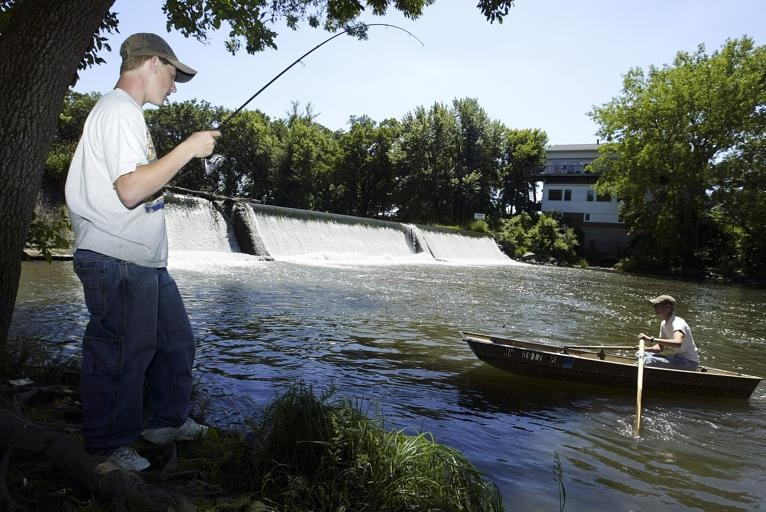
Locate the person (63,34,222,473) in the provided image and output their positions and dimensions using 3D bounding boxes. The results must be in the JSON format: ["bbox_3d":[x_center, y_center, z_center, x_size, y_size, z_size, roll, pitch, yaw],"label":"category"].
[{"bbox_3d":[-1.918,-0.013,3.894,0.985,3.412,0.780,7,6,14],"label":"person"}]

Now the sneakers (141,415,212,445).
[{"bbox_3d":[-1.858,1.571,4.454,0.504,0.210,0.177,-4,7,-21],"label":"sneakers"}]

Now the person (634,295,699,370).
[{"bbox_3d":[5.009,1.542,8.772,1.006,1.602,1.124,10,-6,-44],"label":"person"}]

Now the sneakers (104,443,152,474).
[{"bbox_3d":[-1.979,1.585,3.856,0.324,0.141,0.135,19,-1,-1],"label":"sneakers"}]
